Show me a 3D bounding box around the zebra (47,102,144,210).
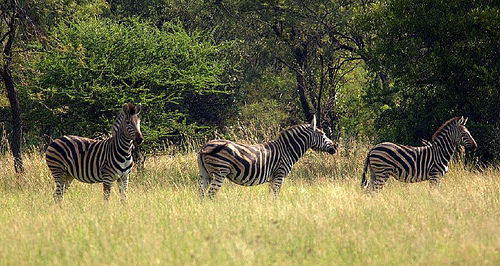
[{"bbox_3d":[-5.422,1.003,24.707,4.689,3.839,1.543,-4,2,37],"label":"zebra"}]
